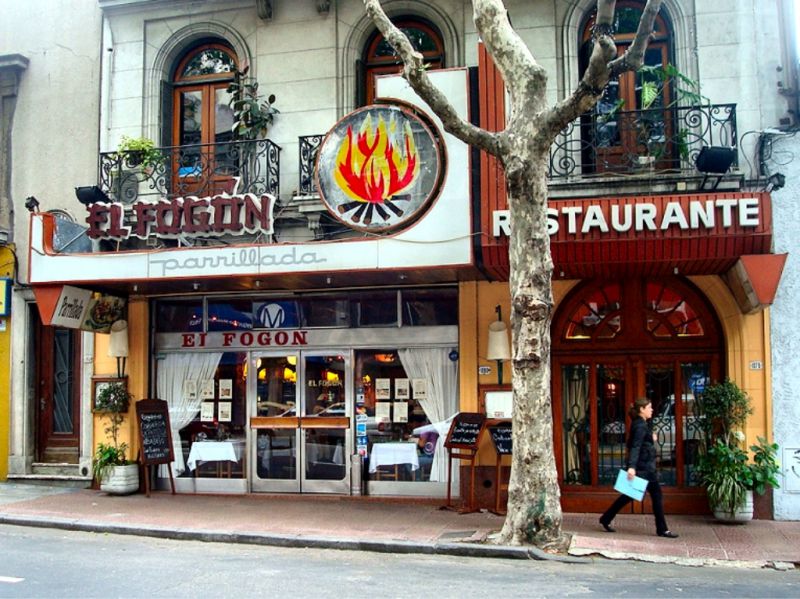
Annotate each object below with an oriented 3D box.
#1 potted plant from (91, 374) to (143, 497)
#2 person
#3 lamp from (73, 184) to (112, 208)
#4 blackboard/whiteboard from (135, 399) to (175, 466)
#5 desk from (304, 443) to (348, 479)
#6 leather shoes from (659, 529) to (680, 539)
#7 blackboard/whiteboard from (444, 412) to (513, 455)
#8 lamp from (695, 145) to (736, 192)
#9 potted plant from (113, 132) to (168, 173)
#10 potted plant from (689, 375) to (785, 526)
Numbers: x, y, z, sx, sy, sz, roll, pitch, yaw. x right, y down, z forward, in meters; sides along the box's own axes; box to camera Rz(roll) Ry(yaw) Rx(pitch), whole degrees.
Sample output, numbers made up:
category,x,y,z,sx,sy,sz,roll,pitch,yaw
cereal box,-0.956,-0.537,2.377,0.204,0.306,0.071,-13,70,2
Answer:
category,x,y,z,sx,sy,sz,roll,pitch,yaw
potted plant,-5.225,2.502,20.190,0.882,2.133,0.617,0,-7,-4
person,3.731,2.590,17.104,1.042,2.106,1.357,-2,-7,14
lamp,-5.519,-1.925,19.863,0.550,0.415,0.557,-1,-7,4
blackboard/whiteboard,-4.421,2.374,19.898,0.304,1.156,0.814,-5,-8,32
desk,-1.285,2.877,19.625,0.604,0.547,0.205,-1,-6,13
leather shoes,4.053,3.525,16.544,0.271,0.116,0.109,-2,-4,13
blackboard/whiteboard,1.306,2.219,18.299,1.117,0.690,0.652,-1,-7,8
lamp,5.013,-2.101,17.423,0.621,0.583,0.752,-3,-7,17
potted plant,-4.734,-2.726,20.198,0.847,0.757,0.631,0,-7,-6
potted plant,5.326,2.403,17.605,1.362,2.223,0.935,-5,-8,32
